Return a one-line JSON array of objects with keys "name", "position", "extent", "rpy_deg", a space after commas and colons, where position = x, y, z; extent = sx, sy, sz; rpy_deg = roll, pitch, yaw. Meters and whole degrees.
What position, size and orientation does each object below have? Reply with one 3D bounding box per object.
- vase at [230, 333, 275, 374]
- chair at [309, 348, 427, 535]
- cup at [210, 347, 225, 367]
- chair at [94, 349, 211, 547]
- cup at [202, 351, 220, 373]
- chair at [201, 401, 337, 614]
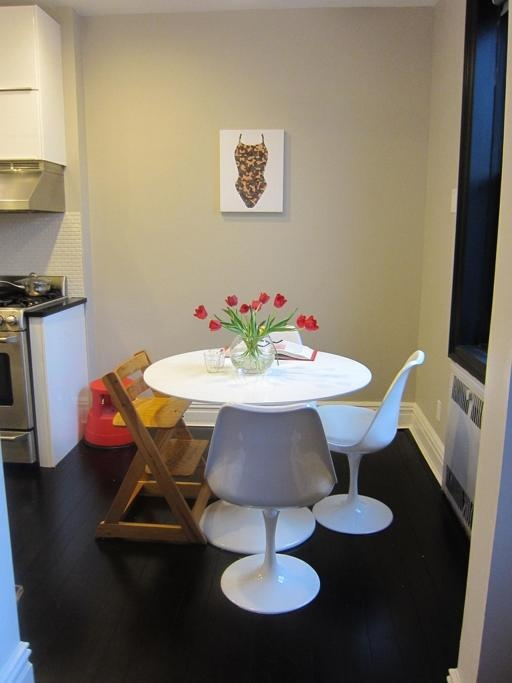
[{"name": "vase", "position": [-0.015, 0.051, 2.019], "extent": [0.133, 0.147, 0.153], "rpy_deg": [1, 1, 4]}, {"name": "chair", "position": [0.441, 0.411, 2.100], "extent": [0.424, 0.775, 0.505], "rpy_deg": [-8, 15, -39]}, {"name": "cup", "position": [-0.163, 0.071, 2.017], "extent": [0.049, 0.062, 0.064], "rpy_deg": [2, 0, 9]}, {"name": "chair", "position": [-0.389, 0.427, 2.261], "extent": [0.555, 1.054, 0.720], "rpy_deg": [0, 10, 0]}, {"name": "cup", "position": [-0.186, 0.075, 1.992], "extent": [0.066, 0.078, 0.073], "rpy_deg": [-8, 14, -28]}, {"name": "chair", "position": [0.053, 0.468, 1.532], "extent": [0.346, 0.764, 0.436], "rpy_deg": [0, 18, 3]}]
